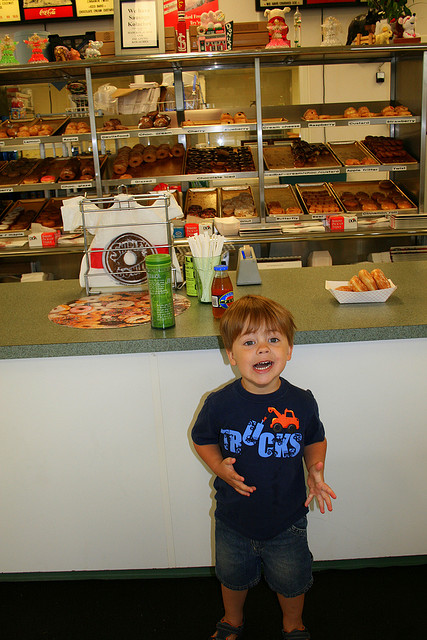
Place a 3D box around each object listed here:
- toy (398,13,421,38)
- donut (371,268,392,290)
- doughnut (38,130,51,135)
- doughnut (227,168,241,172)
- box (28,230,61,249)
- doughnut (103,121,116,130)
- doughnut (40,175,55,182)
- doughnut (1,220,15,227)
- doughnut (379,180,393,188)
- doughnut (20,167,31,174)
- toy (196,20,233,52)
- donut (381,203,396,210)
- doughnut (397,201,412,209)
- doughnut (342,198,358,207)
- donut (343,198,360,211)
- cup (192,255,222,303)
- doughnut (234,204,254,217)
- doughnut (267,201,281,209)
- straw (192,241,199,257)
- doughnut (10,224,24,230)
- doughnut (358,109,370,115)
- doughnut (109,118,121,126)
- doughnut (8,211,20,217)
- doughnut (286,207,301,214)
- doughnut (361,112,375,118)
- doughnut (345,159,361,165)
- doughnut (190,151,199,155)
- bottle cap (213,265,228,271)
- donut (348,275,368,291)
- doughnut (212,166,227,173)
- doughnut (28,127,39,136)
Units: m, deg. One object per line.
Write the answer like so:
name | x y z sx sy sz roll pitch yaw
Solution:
toy | 1.437 -2.130 3.434 0.142 0.150 0.164 -2 20 7
donut | 0.515 -0.124 1.437 0.027 0.029 0.093 13 27 -4
doughnut | -1.358 -1.494 3.764 0.098 0.037 0.059 -12 21 -18
doughnut | 0.162 -1.144 3.623 0.096 0.021 0.092 -4 21 3
box | -1.245 -0.591 3.488 0.246 0.107 0.181 -16 23 -27
doughnut | -0.825 -1.543 3.746 0.099 0.047 0.142 -1 27 -13
doughnut | -1.325 -1.109 3.733 0.122 0.042 0.118 -5 21 -1
doughnut | -1.641 -0.772 3.754 0.066 0.016 0.069 3 37 -3
doughnut | 1.468 -1.135 3.993 0.075 0.037 0.078 -2 9 -1
doughnut | -1.584 -1.246 3.947 0.082 0.048 0.110 -9 21 -11
toy | 0.016 -2.023 3.382 0.259 0.263 0.269 0 39 2
donut | 1.370 -0.878 3.661 0.074 0.041 0.063 -1 4 -6
doughnut | 1.493 -0.885 3.655 0.065 0.038 0.067 -2 6 -3
doughnut | 1.093 -0.931 3.750 0.115 0.058 0.109 3 22 21
donut | 1.109 -0.914 3.736 0.140 0.078 0.149 -8 21 -7
cup | -0.024 -0.116 1.522 0.086 0.138 0.088 1 -3 0
doughnut | 0.242 -0.851 3.687 0.155 0.071 0.110 -4 20 3
doughnut | 0.477 -0.902 3.717 0.073 0.028 0.076 -5 21 -12
straw | -0.055 -0.209 1.417 0.014 0.049 0.019 -6 19 -2
doughnut | -1.547 -0.720 3.687 0.117 0.022 0.114 -5 21 -2
doughnut | 1.199 -1.644 3.727 0.074 0.021 0.076 -14 9 39
doughnut | -0.808 -1.613 3.856 0.103 0.036 0.080 11 15 38
doughnut | -1.660 -0.866 3.891 0.099 0.042 0.072 -1 21 11
doughnut | 0.622 -0.840 3.640 0.110 0.031 0.129 -1 21 10
doughnut | 1.209 -1.581 3.676 0.101 0.036 0.100 1 14 12
doughnut | 1.100 -1.234 3.696 0.119 0.037 0.144 1 21 15
doughnut | -0.161 -1.402 3.979 0.075 0.022 0.053 -6 20 -2
bottle cap | 0.022 -0.144 1.328 0.034 0.010 0.033 -7 21 -5
donut | 0.441 -0.109 1.425 0.040 0.013 0.040 56 18 23
doughnut | 0.050 -1.167 3.660 0.112 0.040 0.115 -2 21 7
doughnut | -1.443 -1.508 3.772 0.070 0.040 0.073 19 28 22
